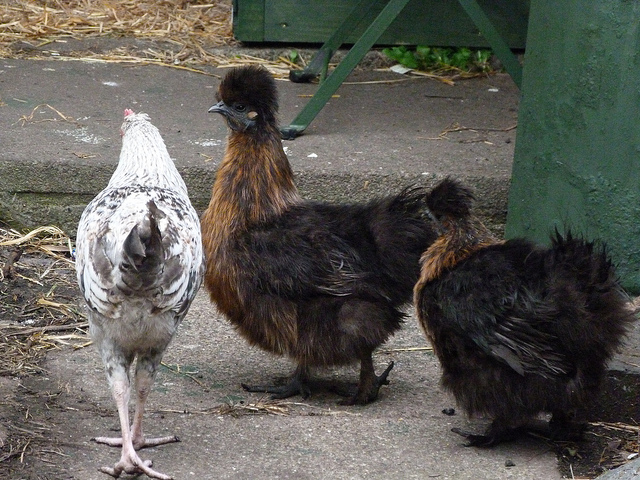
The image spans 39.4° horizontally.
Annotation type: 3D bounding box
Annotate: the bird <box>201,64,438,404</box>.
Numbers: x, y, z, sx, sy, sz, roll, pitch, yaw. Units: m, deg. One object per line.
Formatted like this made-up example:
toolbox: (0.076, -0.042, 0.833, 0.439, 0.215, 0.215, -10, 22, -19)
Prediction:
bird: (-0.077, -0.020, 6.031, 1.540, 2.159, 0.959, 11, 21, 15)

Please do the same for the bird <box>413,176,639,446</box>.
bird: (1.174, 0.503, 5.616, 0.752, 1.538, 1.180, -12, 26, -40)
